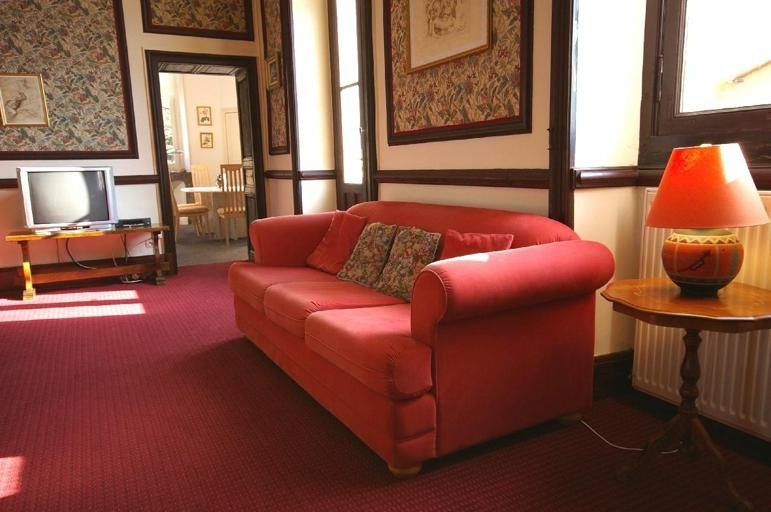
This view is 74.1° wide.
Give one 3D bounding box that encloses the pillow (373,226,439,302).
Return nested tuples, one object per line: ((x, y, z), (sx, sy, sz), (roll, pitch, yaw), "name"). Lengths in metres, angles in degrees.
((0.135, 0.050, 3.231), (0.142, 0.434, 0.459), (23, -1, -29), "pillow")

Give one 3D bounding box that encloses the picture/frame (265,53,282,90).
((-1.294, -2.148, 5.934), (0.078, 0.495, 0.575), (2, -2, -24), "picture/frame")

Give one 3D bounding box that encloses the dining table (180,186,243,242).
((-2.839, -0.683, 8.441), (0.882, 1.450, 0.887), (-4, 23, -24), "dining table")

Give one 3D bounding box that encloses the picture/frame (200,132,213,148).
((-3.647, -2.365, 10.371), (0.310, 0.343, 0.025), (4, 1, -28), "picture/frame")

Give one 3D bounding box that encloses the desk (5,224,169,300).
((-3.180, 0.021, 5.527), (1.535, 0.725, 0.648), (-9, 15, -23), "desk")

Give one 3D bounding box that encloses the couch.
((0.243, 0.490, 2.781), (0.764, 0.567, 1.453), (-3, 8, -28), "couch")

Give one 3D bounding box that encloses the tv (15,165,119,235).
((-3.264, -0.639, 5.496), (1.097, 0.875, 0.601), (-3, 14, -18), "tv")
